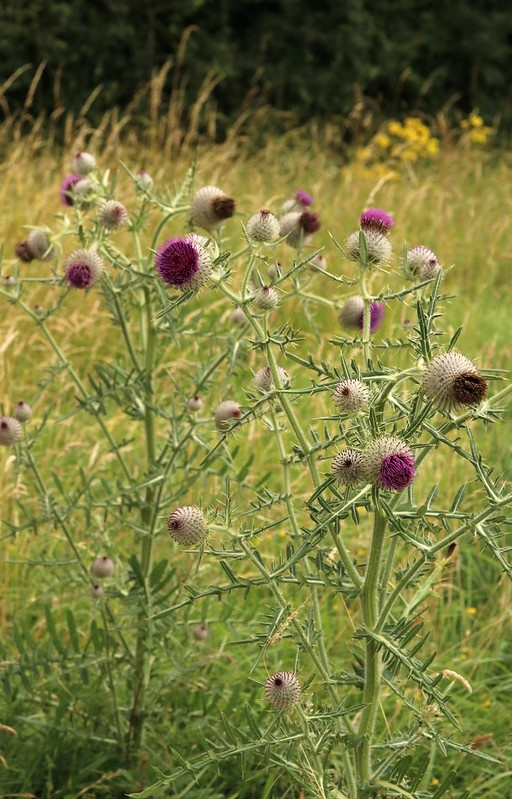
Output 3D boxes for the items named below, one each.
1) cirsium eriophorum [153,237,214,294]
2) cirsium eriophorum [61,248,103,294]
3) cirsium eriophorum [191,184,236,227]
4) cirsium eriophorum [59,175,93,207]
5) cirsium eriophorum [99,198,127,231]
[{"bbox_3d":[-0.180,-0.355,2.576,0.148,0.145,0.241,0,30,-6],"label":"cirsium eriophorum"},{"bbox_3d":[-0.493,-0.364,2.891,0.111,0.142,0.139,-2,31,-9],"label":"cirsium eriophorum"},{"bbox_3d":[-0.131,-0.567,3.026,0.131,0.132,0.150,1,30,-4],"label":"cirsium eriophorum"},{"bbox_3d":[-0.547,-0.627,3.032,0.107,0.102,0.122,6,10,1],"label":"cirsium eriophorum"},{"bbox_3d":[-0.412,-0.529,2.903,0.084,0.077,0.075,-26,11,-13],"label":"cirsium eriophorum"}]
